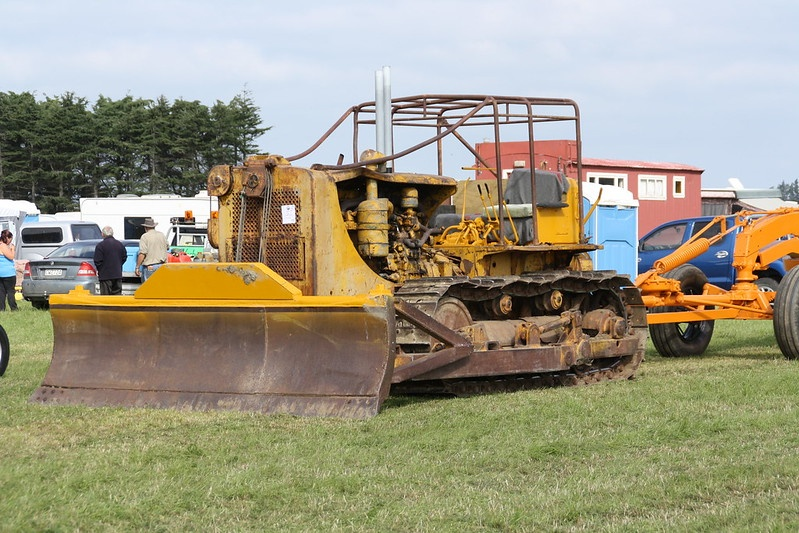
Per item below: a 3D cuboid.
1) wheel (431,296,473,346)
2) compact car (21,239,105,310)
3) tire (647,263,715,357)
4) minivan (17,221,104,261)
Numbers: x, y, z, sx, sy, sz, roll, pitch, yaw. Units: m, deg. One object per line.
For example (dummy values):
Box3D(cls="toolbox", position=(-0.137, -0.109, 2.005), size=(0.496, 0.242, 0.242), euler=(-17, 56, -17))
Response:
Box3D(cls="wheel", position=(0.621, 0.599, 13.688), size=(0.427, 0.454, 0.100), euler=(-14, 3, -44))
Box3D(cls="compact car", position=(-6.361, 0.141, 21.828), size=(1.243, 0.973, 2.790), euler=(1, 5, 22))
Box3D(cls="tire", position=(4.028, 0.628, 16.670), size=(1.041, 1.224, 0.405), euler=(16, -6, -27))
Box3D(cls="minivan", position=(-8.918, -0.625, 29.827), size=(1.764, 1.086, 1.152), euler=(-6, 6, -7))
